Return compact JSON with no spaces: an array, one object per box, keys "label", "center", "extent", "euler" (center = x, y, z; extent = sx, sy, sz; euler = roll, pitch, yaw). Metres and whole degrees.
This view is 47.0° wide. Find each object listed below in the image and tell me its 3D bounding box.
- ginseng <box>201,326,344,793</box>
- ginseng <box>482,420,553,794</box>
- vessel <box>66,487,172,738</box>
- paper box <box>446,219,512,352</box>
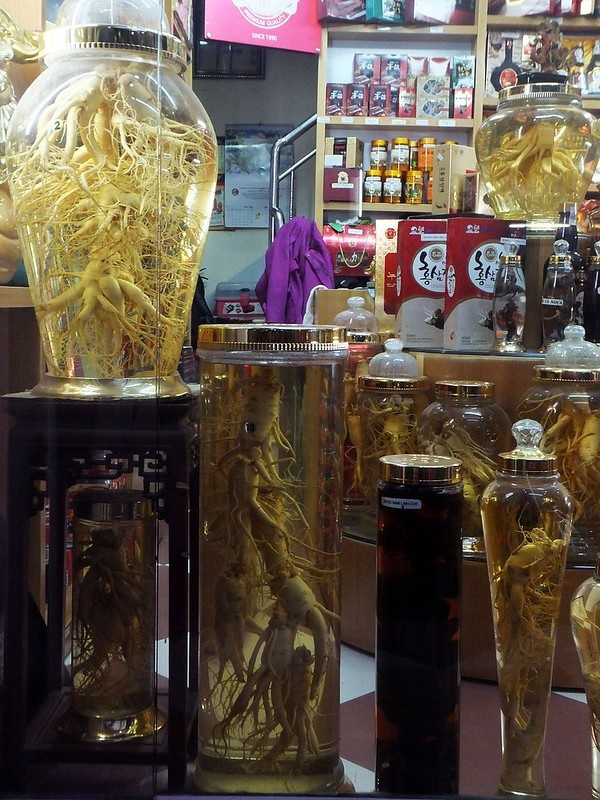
[{"label":"ginseng","center":[-0.026,0.151,0.662],"extent":[0.144,0.439,0.089],"euler":[0,5,-10]},{"label":"ginseng","center":[0.225,0.213,0.689],"extent":[0.086,0.303,0.127],"euler":[3,5,17]},{"label":"vessel","center":[-0.176,0.202,0.659],"extent":[0.090,0.236,0.058],"euler":[0,5,-13]},{"label":"paper box","center":[0.330,-0.215,1.294],"extent":[0.114,0.239,0.058],"euler":[3,6,21]}]
